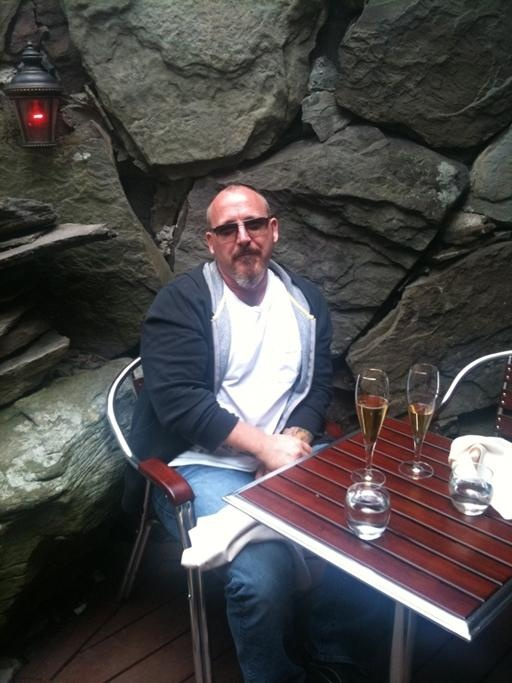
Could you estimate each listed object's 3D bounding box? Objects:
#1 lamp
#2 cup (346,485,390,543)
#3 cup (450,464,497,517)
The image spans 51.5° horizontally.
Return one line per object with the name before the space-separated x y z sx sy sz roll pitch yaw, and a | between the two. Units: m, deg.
lamp | -0.797 -0.891 1.916 0.188 0.355 0.278 -7 13 -18
cup | 0.183 0.298 0.932 0.072 0.069 0.079 -1 21 0
cup | 0.408 0.282 1.006 0.082 0.076 0.080 -3 17 1
